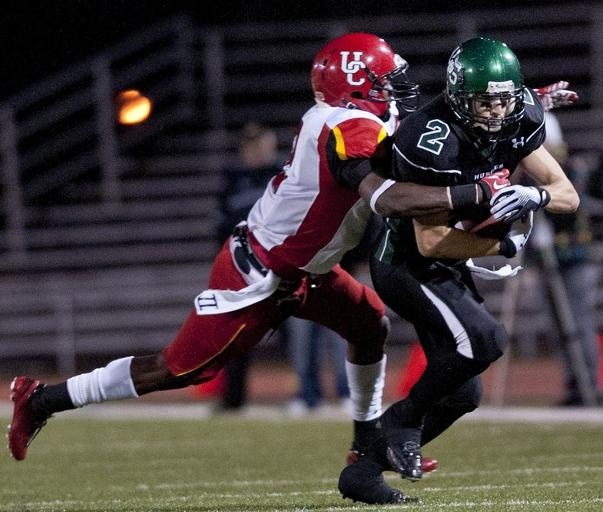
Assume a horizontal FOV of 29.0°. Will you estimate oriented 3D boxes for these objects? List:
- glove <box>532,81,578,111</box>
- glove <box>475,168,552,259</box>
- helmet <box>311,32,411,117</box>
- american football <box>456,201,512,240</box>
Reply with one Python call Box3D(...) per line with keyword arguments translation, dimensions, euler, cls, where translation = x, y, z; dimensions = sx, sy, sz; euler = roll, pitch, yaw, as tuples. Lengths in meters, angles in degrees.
Box3D(translation=(1.180, -0.723, 5.239), dimensions=(0.208, 0.062, 0.206), euler=(-5, -18, 45), cls="glove")
Box3D(translation=(0.887, -0.161, 4.814), dimensions=(0.144, 0.408, 0.312), euler=(50, -7, -15), cls="glove")
Box3D(translation=(0.266, -0.806, 5.176), dimensions=(0.535, 0.301, 0.372), euler=(-9, 21, -31), cls="helmet")
Box3D(translation=(0.780, -0.142, 4.917), dimensions=(0.231, 0.068, 0.159), euler=(4, -18, 37), cls="american football")
